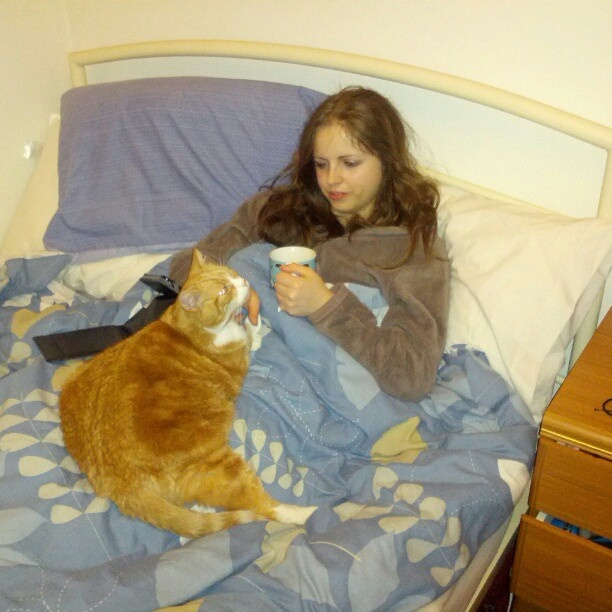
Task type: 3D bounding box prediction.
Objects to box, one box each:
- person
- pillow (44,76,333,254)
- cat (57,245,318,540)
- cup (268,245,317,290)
[{"bbox_3d":[0.045,-0.188,1.664,0.684,0.524,0.452,34,54,25],"label":"person"},{"bbox_3d":[-0.466,-0.554,2.177,0.907,0.676,0.246,2,-5,10],"label":"pillow"},{"bbox_3d":[-0.278,0.209,1.302,0.519,0.356,0.598,-9,31,-27],"label":"cat"},{"bbox_3d":[-0.040,-0.124,1.526,0.092,0.086,0.108,16,31,29],"label":"cup"}]
